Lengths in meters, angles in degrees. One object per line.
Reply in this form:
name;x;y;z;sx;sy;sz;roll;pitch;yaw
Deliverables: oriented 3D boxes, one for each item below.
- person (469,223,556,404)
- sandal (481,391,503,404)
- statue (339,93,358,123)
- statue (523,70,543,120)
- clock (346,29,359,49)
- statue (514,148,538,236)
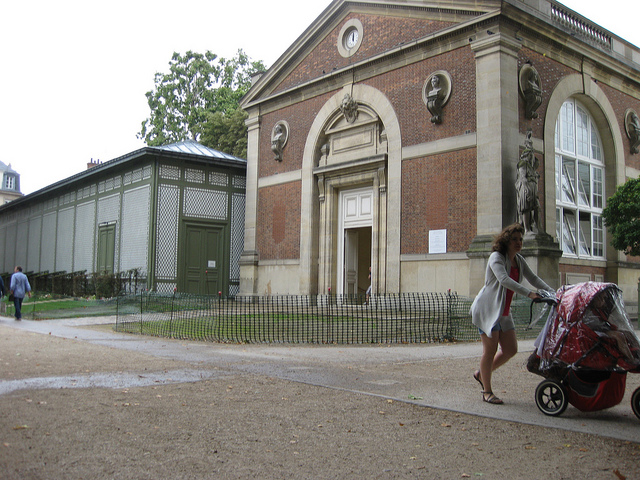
person;2.363;0.905;7.349;0.846;2.242;1.195;-1;-2;22
sandal;2.107;1.959;7.069;0.079;0.104;0.227;0;-3;-26
statue;1.124;-5.168;22.455;0.797;1.117;0.265;-1;-2;37
statue;6.920;-4.817;18.760;0.778;1.659;0.282;1;-2;-39
clock;1.308;-8.191;23.228;0.132;0.703;0.612;4;10;-29
statue;6.195;-1.469;17.229;0.592;2.633;0.501;-1;-2;24
